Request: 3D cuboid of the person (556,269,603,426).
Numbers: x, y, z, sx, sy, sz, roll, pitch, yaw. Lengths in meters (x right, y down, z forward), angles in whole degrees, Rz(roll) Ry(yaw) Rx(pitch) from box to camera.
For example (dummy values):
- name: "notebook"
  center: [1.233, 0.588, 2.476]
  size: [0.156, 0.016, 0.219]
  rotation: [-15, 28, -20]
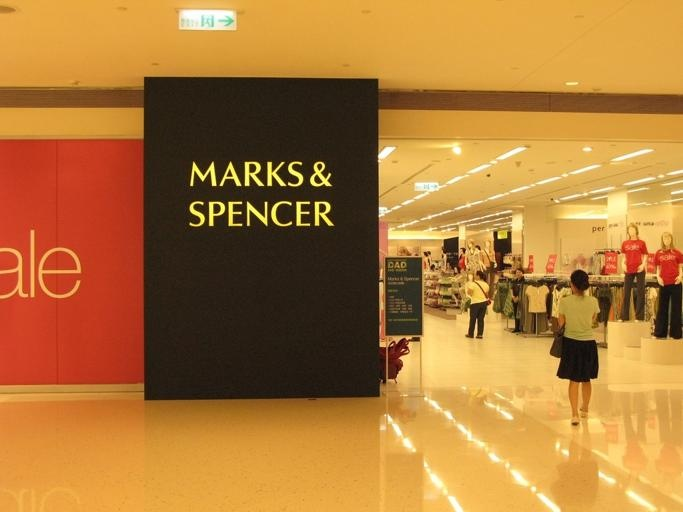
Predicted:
- name: "person"
  center: [2.886, 1.072, 6.994]
  size: [0.457, 1.829, 0.755]
  rotation: [6, 10, 37]

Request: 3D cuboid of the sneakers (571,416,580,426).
- name: "sneakers"
  center: [2.765, 1.944, 6.822]
  size: [0.089, 0.077, 0.145]
  rotation: [3, 9, 23]

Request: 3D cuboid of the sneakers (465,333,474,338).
- name: "sneakers"
  center: [2.798, 1.749, 12.698]
  size: [0.064, 0.125, 0.179]
  rotation: [5, -11, -40]

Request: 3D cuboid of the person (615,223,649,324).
- name: "person"
  center: [5.439, 0.308, 10.746]
  size: [0.488, 1.798, 0.426]
  rotation: [6, 10, 35]

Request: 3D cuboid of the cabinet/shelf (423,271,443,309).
- name: "cabinet/shelf"
  center: [2.807, 1.040, 17.884]
  size: [0.271, 0.943, 0.821]
  rotation: [4, 2, -8]

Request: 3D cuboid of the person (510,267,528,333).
- name: "person"
  center: [4.055, 1.025, 13.300]
  size: [0.291, 1.461, 1.133]
  rotation: [2, 9, 17]

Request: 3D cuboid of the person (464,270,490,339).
- name: "person"
  center: [2.985, 1.068, 12.645]
  size: [0.466, 1.569, 1.030]
  rotation: [2, 9, 13]
